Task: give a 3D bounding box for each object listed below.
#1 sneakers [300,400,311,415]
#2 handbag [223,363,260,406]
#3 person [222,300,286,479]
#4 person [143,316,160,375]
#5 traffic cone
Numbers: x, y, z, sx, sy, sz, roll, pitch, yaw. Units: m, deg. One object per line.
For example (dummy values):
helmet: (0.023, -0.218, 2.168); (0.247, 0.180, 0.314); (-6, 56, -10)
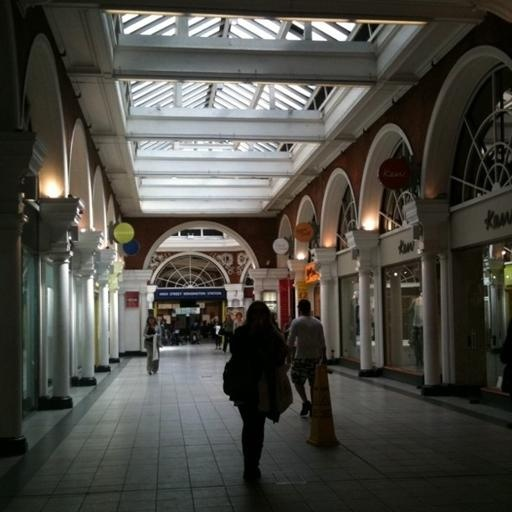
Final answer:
sneakers: (0.780, 2.351, 7.241); (0.097, 0.172, 0.323); (-2, -24, -5)
handbag: (-0.154, 1.073, 4.016); (0.346, 0.376, 0.175); (-8, -10, 42)
person: (0.009, 1.136, 4.094); (0.566, 1.488, 0.329); (0, -7, -6)
person: (-3.355, 2.864, 15.189); (0.485, 1.832, 0.787); (1, -7, -13)
traffic cone: (0.765, 1.693, 5.419); (0.353, 0.878, 0.501); (-1, -7, 7)
